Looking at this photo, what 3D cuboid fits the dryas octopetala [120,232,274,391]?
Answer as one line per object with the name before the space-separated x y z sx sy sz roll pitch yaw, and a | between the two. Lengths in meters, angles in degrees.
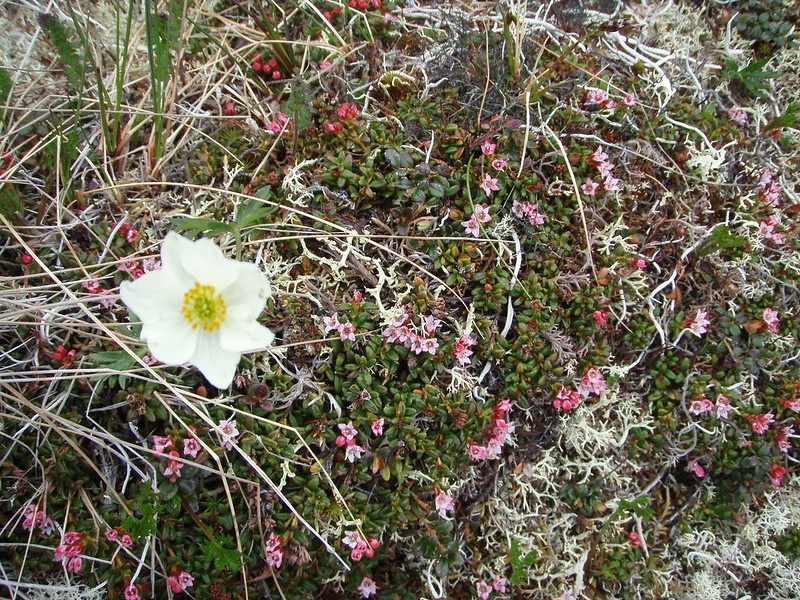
dryas octopetala | -1.032 0.047 3.454 0.801 0.857 0.297 15 111 19
